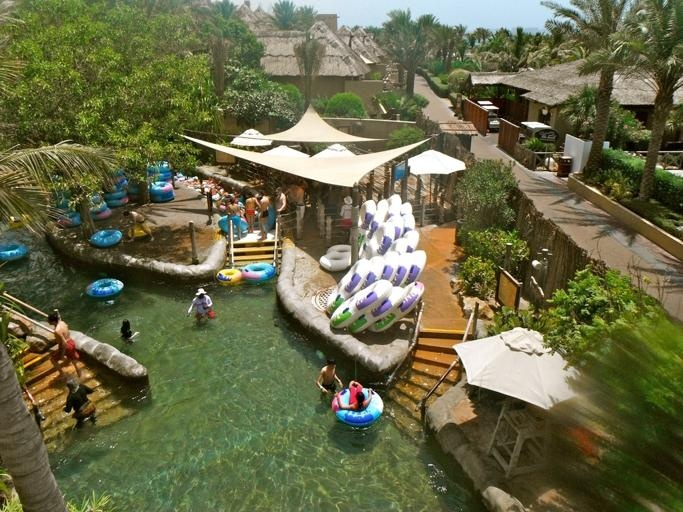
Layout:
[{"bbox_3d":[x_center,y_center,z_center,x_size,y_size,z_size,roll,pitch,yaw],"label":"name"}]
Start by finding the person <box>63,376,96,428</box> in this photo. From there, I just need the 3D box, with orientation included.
[{"bbox_3d":[-6.897,3.810,12.069,0.688,1.220,0.617,-11,24,-22],"label":"person"}]

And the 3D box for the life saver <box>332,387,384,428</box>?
[{"bbox_3d":[0.411,4.144,12.503,1.332,0.466,1.431,-6,21,-10],"label":"life saver"}]

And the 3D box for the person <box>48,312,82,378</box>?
[{"bbox_3d":[-8.001,2.516,13.428,0.775,2.007,1.188,2,13,-16],"label":"person"}]

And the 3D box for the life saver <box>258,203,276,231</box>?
[{"bbox_3d":[-3.501,-1.754,21.492,0.304,1.008,0.729,8,5,21],"label":"life saver"}]
